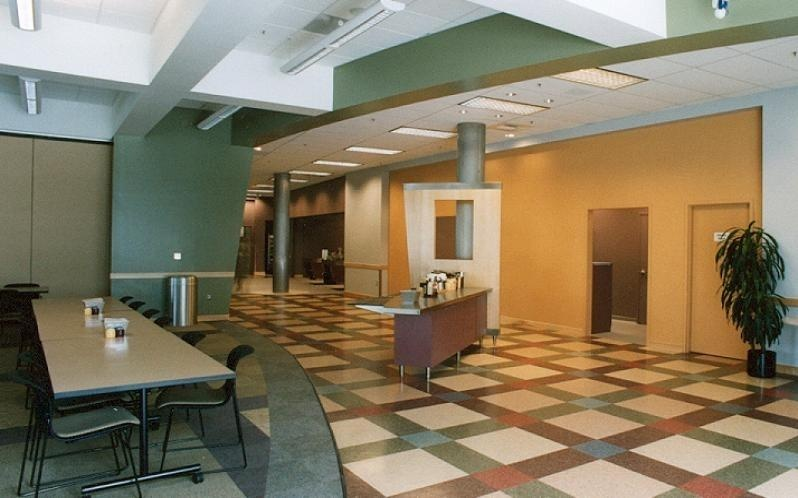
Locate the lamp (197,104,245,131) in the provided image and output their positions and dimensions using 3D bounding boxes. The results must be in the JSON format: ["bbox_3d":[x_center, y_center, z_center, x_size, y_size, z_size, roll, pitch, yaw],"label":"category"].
[{"bbox_3d":[-4.076,-2.920,11.606,0.680,0.300,3.042,-2,7,-22],"label":"lamp"}]
